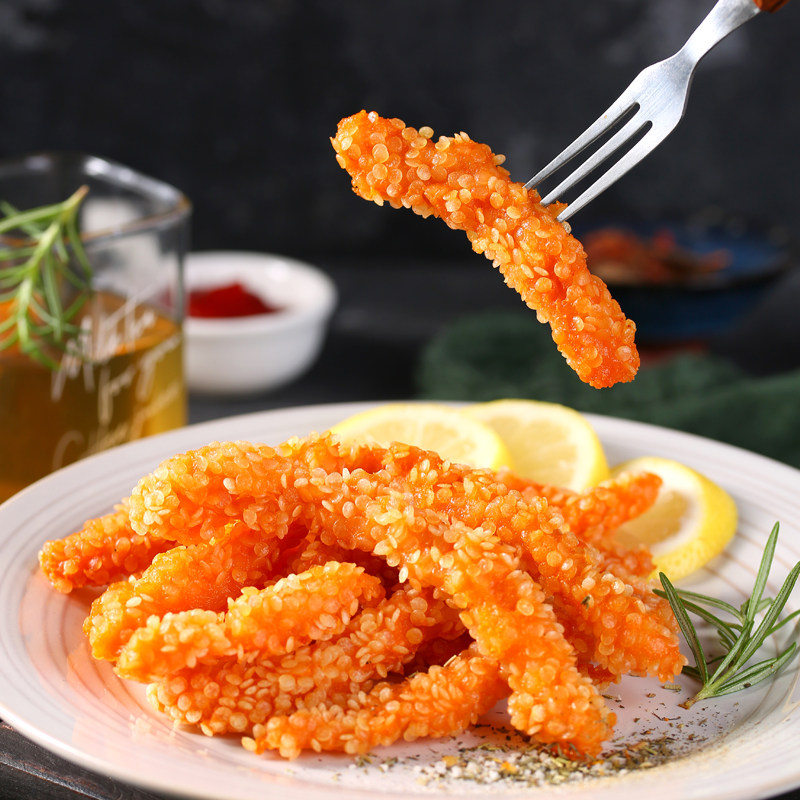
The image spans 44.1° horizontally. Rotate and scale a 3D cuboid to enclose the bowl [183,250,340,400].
[{"bbox_3d":[-0.305,-0.196,2.238,0.452,0.144,0.373,0,26,-1],"label":"bowl"}]
